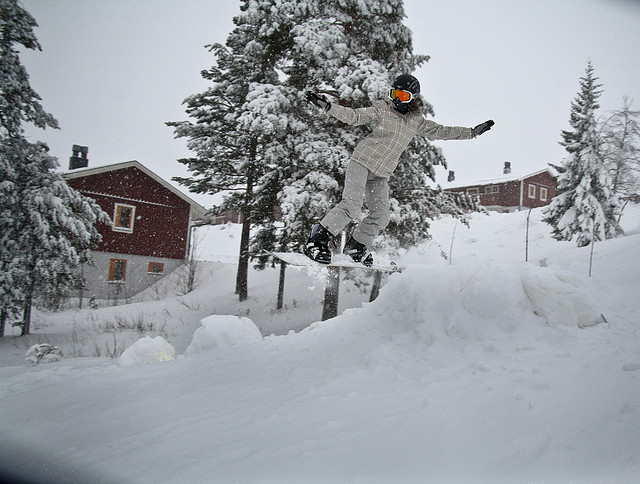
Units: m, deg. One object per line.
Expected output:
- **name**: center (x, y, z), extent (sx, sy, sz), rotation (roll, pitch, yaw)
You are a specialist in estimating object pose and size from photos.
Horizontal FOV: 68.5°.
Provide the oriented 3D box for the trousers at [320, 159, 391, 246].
- **trousers**: center (0.591, -0.600, 7.261), extent (0.874, 1.288, 0.688), rotation (1, -5, -37)
